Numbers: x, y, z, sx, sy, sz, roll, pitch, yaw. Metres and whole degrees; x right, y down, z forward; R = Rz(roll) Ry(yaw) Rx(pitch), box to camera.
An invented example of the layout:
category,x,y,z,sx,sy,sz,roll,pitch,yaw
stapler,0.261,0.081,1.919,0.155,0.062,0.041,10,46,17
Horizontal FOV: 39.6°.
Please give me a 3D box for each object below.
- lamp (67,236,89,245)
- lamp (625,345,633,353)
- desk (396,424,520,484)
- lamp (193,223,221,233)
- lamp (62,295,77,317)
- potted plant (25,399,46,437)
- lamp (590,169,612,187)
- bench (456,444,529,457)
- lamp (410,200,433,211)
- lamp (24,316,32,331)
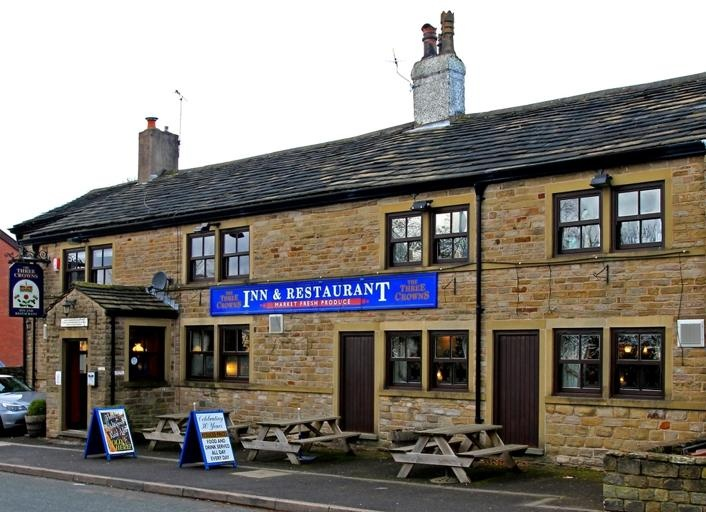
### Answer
category,x,y,z,sx,sy,sz,roll,pitch,yaw
lamp,-7.700,-0.461,27.422,0.575,0.184,0.238,2,-9,-18
lamp,5.507,1.843,19.517,0.167,0.162,0.125,-2,-10,28
desk,1.919,3.781,19.073,1.349,0.560,1.586,-6,-8,36
lamp,-3.714,-0.734,24.979,0.280,0.185,0.486,-7,-13,35
lamp,-7.203,1.235,24.700,0.517,0.587,0.184,-9,-12,43
potted plant,-8.330,4.227,25.663,0.599,0.964,0.413,0,-9,-3
lamp,5.021,-1.564,19.654,0.347,0.352,0.200,-1,-13,45
bench,2.829,3.813,19.189,0.559,0.189,1.933,-8,-11,38
lamp,1.514,-1.114,21.571,0.330,0.167,0.243,-3,0,19
lamp,-9.609,2.000,28.884,0.140,0.378,0.604,4,-10,-29
